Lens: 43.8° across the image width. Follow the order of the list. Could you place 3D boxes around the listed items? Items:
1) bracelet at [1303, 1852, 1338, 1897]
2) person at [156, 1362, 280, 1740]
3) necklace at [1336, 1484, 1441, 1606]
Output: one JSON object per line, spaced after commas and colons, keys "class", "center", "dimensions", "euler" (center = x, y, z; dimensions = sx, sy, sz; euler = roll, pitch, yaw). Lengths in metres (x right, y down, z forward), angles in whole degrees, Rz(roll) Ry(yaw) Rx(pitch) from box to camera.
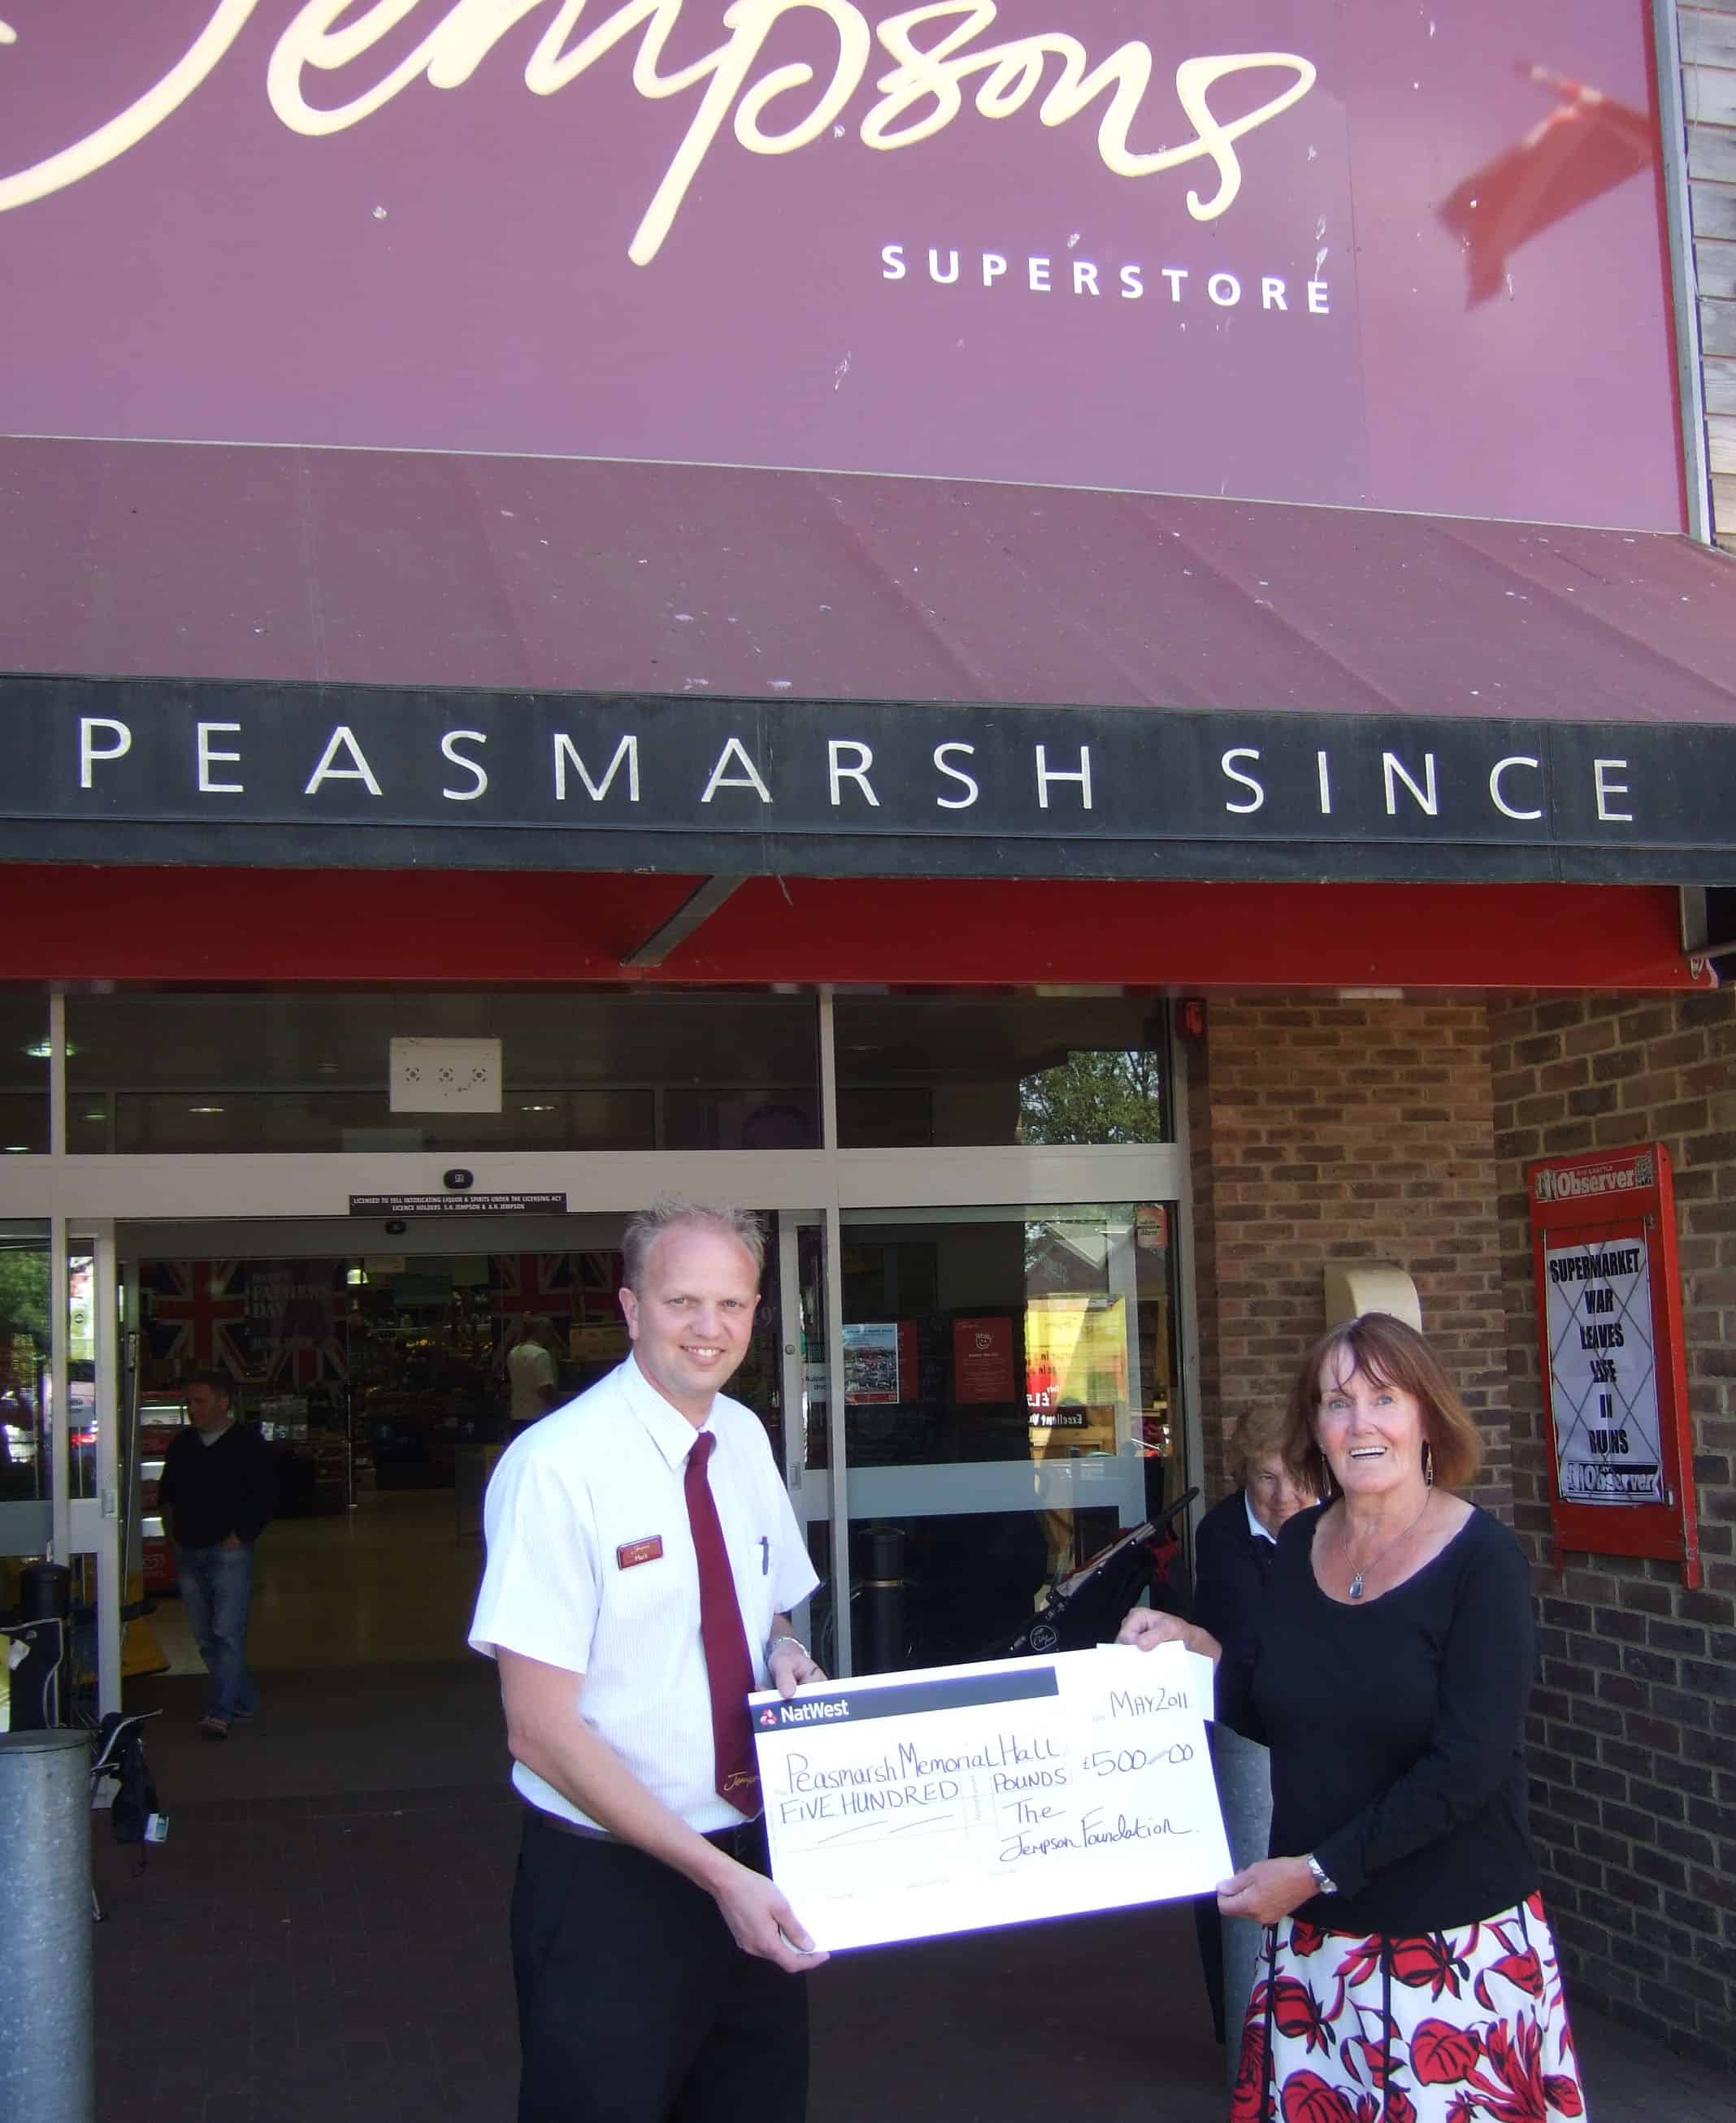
{"class": "bracelet", "center": [0.649, 1.172, 3.102], "dimensions": [0.043, 0.077, 0.119], "euler": [-1, -8, 11]}
{"class": "person", "center": [-3.084, 2.295, 10.195], "dimensions": [0.532, 1.536, 1.289], "euler": [3, -8, -18]}
{"class": "necklace", "center": [0.782, 0.741, 3.288], "dimensions": [0.147, 0.158, 0.042], "euler": [-11, -4, 29]}
